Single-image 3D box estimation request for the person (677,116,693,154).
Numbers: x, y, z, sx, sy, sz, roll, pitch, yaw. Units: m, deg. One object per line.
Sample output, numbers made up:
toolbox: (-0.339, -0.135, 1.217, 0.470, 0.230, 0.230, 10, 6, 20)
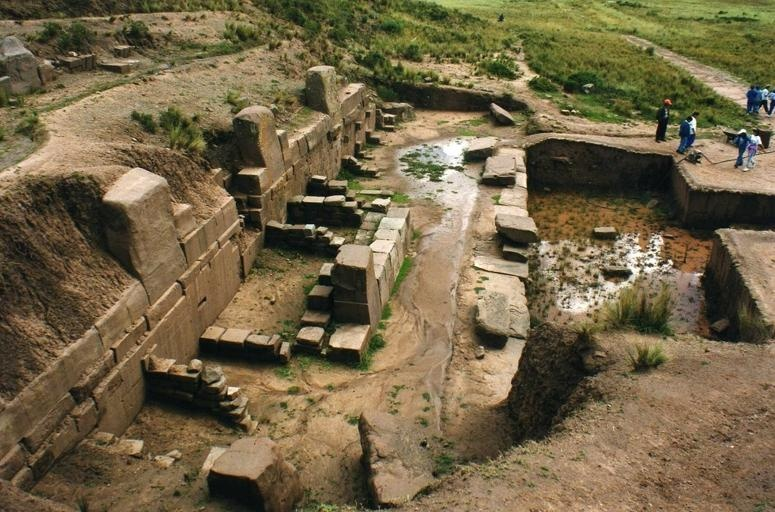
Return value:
person: (11.815, -4.820, 24.139, 0.584, 1.357, 0.480, -25, 38, -36)
